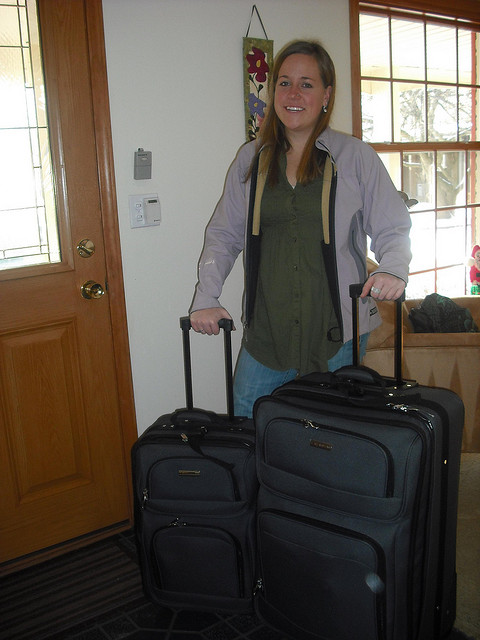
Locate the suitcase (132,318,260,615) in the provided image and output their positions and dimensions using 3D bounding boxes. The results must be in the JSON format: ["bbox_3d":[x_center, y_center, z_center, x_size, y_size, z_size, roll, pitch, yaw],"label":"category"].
[{"bbox_3d":[-0.103,0.386,1.393,0.316,0.777,0.239,-1,13,8],"label":"suitcase"}]

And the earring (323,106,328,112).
[{"bbox_3d":[0.219,-0.537,1.342,0.009,0.015,0.013,0,-4,16],"label":"earring"}]

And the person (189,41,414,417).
[{"bbox_3d":[0.143,-0.072,1.357,0.462,1.224,0.384,2,6,9],"label":"person"}]

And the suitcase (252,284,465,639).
[{"bbox_3d":[0.238,0.360,1.198,0.491,0.806,0.318,1,9,26],"label":"suitcase"}]

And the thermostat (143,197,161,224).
[{"bbox_3d":[-0.313,-0.388,1.863,0.060,0.110,0.051,-16,26,-36],"label":"thermostat"}]
